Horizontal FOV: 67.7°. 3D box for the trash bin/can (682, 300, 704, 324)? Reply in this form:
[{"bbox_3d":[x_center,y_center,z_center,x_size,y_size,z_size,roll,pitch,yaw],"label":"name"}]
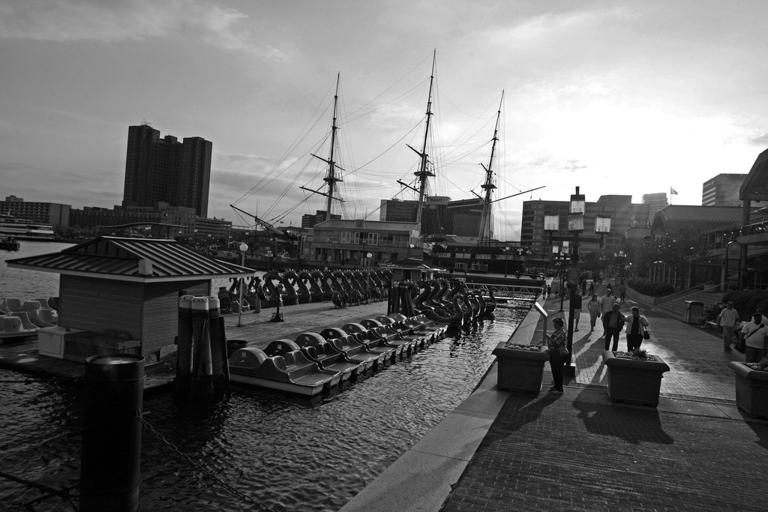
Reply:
[{"bbox_3d":[17.839,3.252,32.932,0.820,1.193,1.614,3,9,23],"label":"trash bin/can"}]
